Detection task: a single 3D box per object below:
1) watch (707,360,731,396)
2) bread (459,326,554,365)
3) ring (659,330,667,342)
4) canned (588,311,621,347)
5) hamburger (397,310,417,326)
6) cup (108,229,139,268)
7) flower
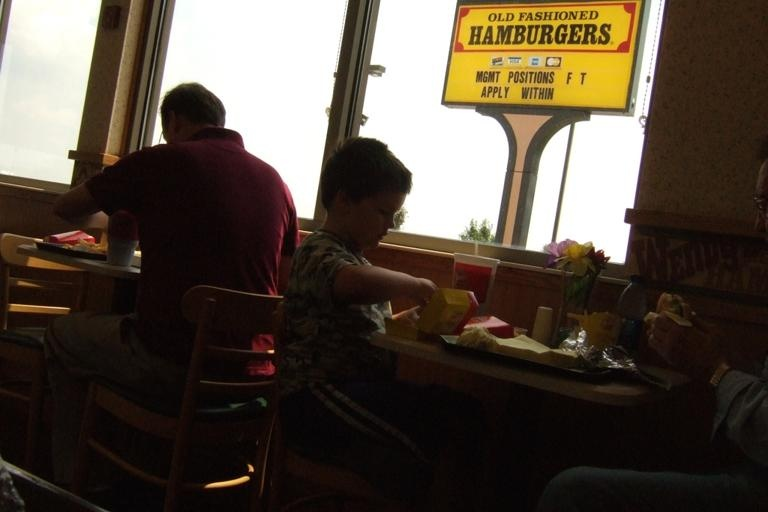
[{"bbox_3d":[0.917,0.336,1.605,0.017,0.062,0.064,17,11,21],"label":"watch"},{"bbox_3d":[0.326,0.248,1.583,0.132,0.046,0.135,17,-8,-4],"label":"bread"},{"bbox_3d":[0.799,0.232,1.657,0.026,0.025,0.007,19,-7,27],"label":"ring"},{"bbox_3d":[0.676,0.226,1.798,0.106,0.100,0.090,-2,0,-20],"label":"canned"},{"bbox_3d":[0.068,0.193,1.784,0.051,0.021,0.038,9,7,-30],"label":"hamburger"},{"bbox_3d":[-1.055,-0.030,2.390,0.123,0.141,0.127,11,0,0],"label":"cup"},{"bbox_3d":[0.668,0.076,2.037,0.232,0.254,0.226,4,-3,21],"label":"flower"}]
